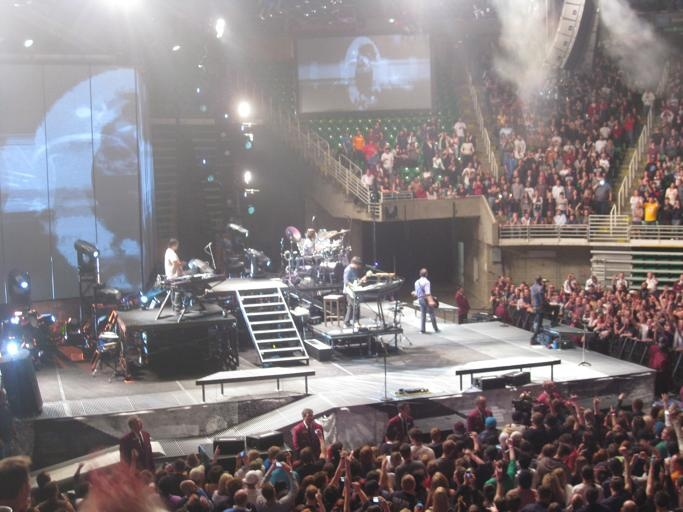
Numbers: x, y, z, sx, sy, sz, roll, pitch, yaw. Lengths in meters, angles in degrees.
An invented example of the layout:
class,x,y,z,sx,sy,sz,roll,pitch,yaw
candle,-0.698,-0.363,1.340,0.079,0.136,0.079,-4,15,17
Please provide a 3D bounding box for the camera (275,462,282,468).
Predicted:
class,x,y,z,sx,sy,sz,roll,pitch,yaw
camera,-1.052,3.544,14.761,0.113,0.083,0.054,-3,3,-5

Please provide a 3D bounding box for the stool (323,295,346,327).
class,x,y,z,sx,sy,sz,roll,pitch,yaw
stool,-0.240,1.575,25.716,0.754,1.167,0.717,-1,3,6

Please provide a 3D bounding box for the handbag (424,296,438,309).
class,x,y,z,sx,sy,sz,roll,pitch,yaw
handbag,2.602,1.344,24.988,0.349,0.249,0.395,34,17,26

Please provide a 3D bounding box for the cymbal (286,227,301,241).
class,x,y,z,sx,sy,sz,roll,pitch,yaw
cymbal,-1.478,-0.664,27.509,0.490,0.444,0.440,-1,3,29

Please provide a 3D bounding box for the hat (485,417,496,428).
class,x,y,z,sx,sy,sz,roll,pitch,yaw
hat,2.831,3.159,16.468,0.222,0.220,0.180,-8,10,-13

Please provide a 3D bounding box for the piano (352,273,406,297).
class,x,y,z,sx,sy,sz,roll,pitch,yaw
piano,0.898,0.839,23.717,1.278,0.564,0.854,-3,3,-19

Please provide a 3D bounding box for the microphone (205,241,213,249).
class,x,y,z,sx,sy,sz,roll,pitch,yaw
microphone,-4.510,-0.346,29.554,0.115,0.282,0.292,41,20,11

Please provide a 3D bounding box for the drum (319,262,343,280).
class,x,y,z,sx,sy,sz,roll,pitch,yaw
drum,-0.317,0.486,26.905,0.848,0.592,0.561,2,20,15

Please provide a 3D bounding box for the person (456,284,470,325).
class,x,y,z,sx,sy,sz,roll,pitch,yaw
person,3.710,1.510,27.009,0.368,1.097,1.047,-2,3,7

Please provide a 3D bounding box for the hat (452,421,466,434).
class,x,y,z,sx,sy,sz,roll,pitch,yaw
hat,2.190,3.230,16.293,0.177,0.238,0.229,8,17,19

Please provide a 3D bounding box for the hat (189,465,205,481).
class,x,y,z,sx,sy,sz,roll,pitch,yaw
hat,-2.507,3.781,15.102,0.257,0.223,0.435,-3,3,-13

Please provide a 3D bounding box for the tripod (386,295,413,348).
class,x,y,z,sx,sy,sz,roll,pitch,yaw
tripod,1.542,1.838,24.797,0.923,1.043,0.904,6,7,38

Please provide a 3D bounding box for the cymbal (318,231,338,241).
class,x,y,z,sx,sy,sz,roll,pitch,yaw
cymbal,-0.401,-0.632,27.460,0.606,0.334,1.004,-2,3,-2
